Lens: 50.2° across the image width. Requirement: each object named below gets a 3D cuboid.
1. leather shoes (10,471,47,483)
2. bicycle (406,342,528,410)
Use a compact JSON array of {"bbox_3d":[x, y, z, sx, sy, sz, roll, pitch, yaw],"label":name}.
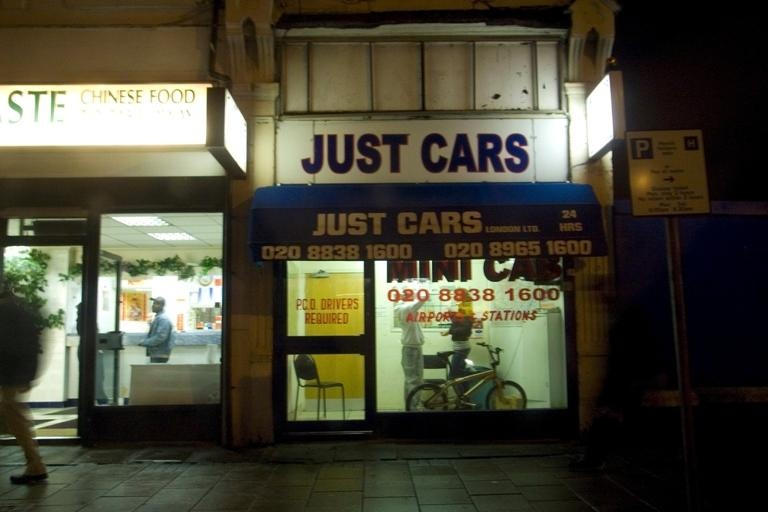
[{"bbox_3d":[-4.899,3.032,11.360,0.494,0.198,0.165,5,-7,-11],"label":"leather shoes"},{"bbox_3d":[1.249,2.057,13.181,1.564,0.804,0.743,-2,-9,-1],"label":"bicycle"}]
